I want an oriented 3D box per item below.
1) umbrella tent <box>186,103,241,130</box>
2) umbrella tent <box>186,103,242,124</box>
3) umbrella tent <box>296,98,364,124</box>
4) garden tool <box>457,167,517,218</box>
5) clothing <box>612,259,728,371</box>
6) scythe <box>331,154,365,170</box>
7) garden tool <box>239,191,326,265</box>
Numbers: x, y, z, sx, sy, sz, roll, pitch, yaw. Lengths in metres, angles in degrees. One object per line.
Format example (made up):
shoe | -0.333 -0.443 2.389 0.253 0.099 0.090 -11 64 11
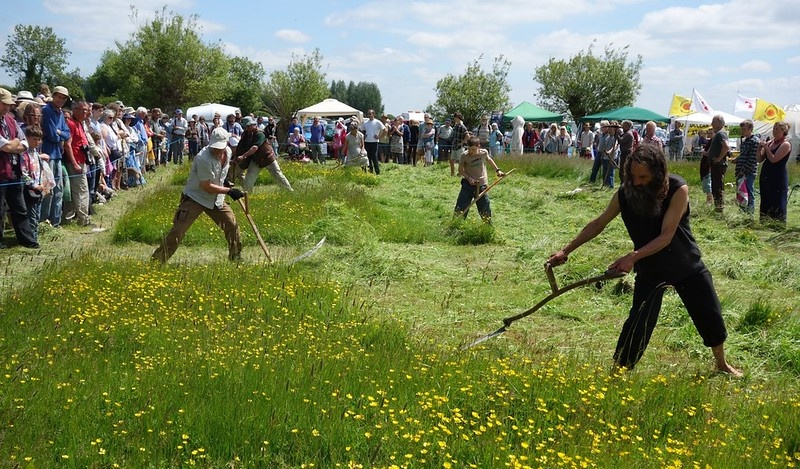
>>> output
umbrella tent | -9.853 -6.349 34.598 3.065 1.207 2.912 1 2 -4
umbrella tent | -9.779 -6.374 34.771 3.042 1.027 2.931 0 2 -8
umbrella tent | -3.757 -6.608 36.421 3.435 1.253 3.286 0 3 -2
garden tool | 2.205 -1.017 17.043 2.591 0.347 0.219 -45 17 -34
clothing | 3.693 1.156 9.195 1.679 1.459 0.659 1 -1 -4
scythe | -1.838 -2.583 24.016 1.323 0.107 0.511 -2 -6 40
garden tool | -2.202 -0.127 12.702 1.521 1.195 3.161 0 12 -8
